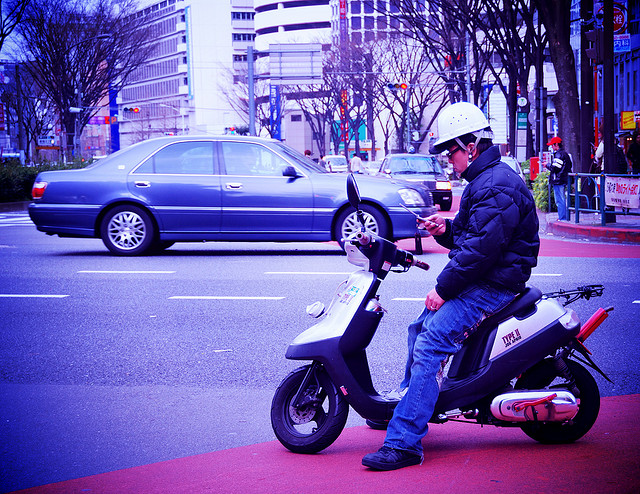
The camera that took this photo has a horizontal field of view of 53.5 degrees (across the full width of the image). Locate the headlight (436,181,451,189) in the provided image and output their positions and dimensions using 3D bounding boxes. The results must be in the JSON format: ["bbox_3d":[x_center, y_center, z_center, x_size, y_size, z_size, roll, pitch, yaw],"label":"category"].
[{"bbox_3d":[4.380,-2.193,22.467,0.591,0.272,0.206,-4,7,-26],"label":"headlight"}]

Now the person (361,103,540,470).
[{"bbox_3d":[0.795,0.208,3.719,1.043,2.098,0.502,-3,7,-15],"label":"person"}]

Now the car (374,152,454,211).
[{"bbox_3d":[3.425,-2.634,24.182,2.049,2.019,4.013,0,1,-10],"label":"car"}]

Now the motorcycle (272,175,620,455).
[{"bbox_3d":[0.682,0.393,3.941,1.981,1.749,1.028,-2,2,4],"label":"motorcycle"}]

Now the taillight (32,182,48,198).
[{"bbox_3d":[-5.550,-1.153,12.619,0.310,0.368,0.265,10,7,-19],"label":"taillight"}]

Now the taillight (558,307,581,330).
[{"bbox_3d":[1.467,0.424,3.744,0.101,0.059,0.138,-46,0,4],"label":"taillight"}]

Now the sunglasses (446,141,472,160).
[{"bbox_3d":[0.820,-0.574,3.759,0.096,0.032,0.096,-17,5,-11],"label":"sunglasses"}]
